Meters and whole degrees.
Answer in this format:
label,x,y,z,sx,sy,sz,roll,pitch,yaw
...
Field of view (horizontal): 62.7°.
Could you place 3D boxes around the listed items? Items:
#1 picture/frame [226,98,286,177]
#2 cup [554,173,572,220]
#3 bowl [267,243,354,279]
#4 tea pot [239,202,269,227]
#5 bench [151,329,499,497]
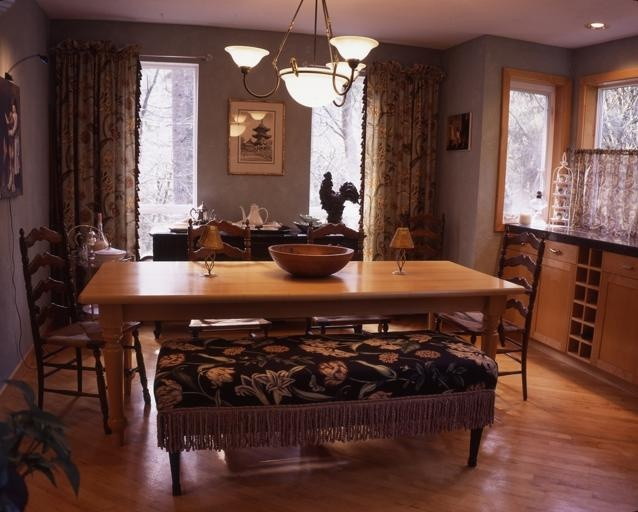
label,x,y,z,sx,sy,sz,roll,pitch,yaw
picture/frame,-0.620,-1.159,5.010,0.833,0.963,0.040,0,4,-11
cup,2.259,-0.533,4.854,0.147,0.454,0.183,3,13,7
bowl,-0.029,0.037,3.250,0.517,0.158,0.514,1,7,0
tea pot,-0.626,-0.389,4.997,0.338,0.239,0.221,0,8,-2
bench,0.033,0.799,2.778,1.706,0.613,0.494,-1,13,-12
